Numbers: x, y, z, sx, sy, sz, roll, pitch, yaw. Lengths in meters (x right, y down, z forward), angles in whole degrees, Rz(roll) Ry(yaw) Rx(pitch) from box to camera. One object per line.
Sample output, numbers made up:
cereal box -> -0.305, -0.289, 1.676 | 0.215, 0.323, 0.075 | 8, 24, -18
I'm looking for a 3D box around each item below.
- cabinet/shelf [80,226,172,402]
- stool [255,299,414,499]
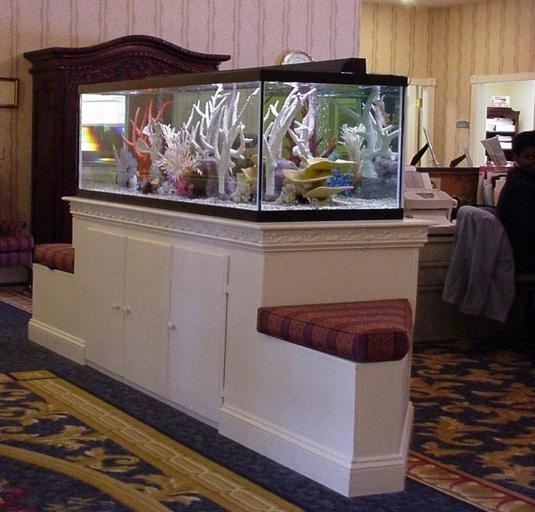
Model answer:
cabinet/shelf -> -0.726, 0.303, 2.663 | 0.326, 0.698, 0.820 | -5, 12, -36
stool -> 0.244, 0.438, 1.832 | 0.601, 0.400, 0.563 | -1, 4, -16
